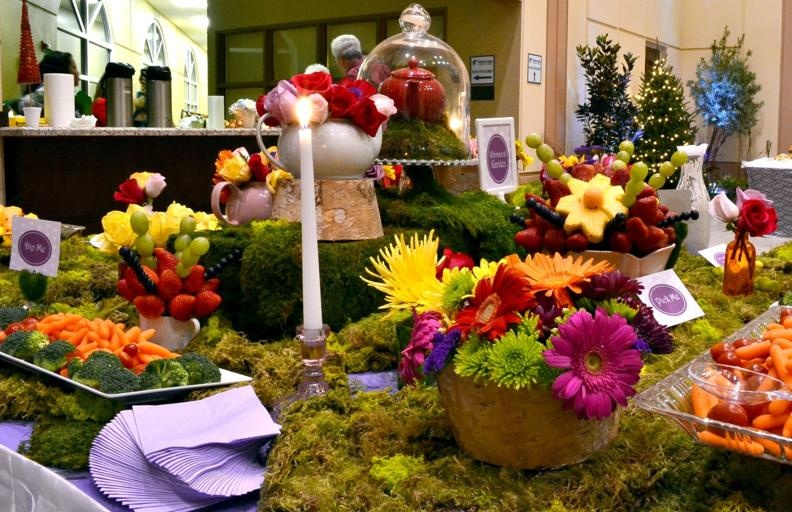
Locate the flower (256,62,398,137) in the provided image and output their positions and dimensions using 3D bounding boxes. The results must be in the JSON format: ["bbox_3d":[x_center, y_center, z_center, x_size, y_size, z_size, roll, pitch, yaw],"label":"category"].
[{"bbox_3d":[-0.185,-0.424,1.679,0.370,0.168,0.237,1,9,-4],"label":"flower"}]

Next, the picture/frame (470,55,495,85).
[{"bbox_3d":[0.904,-1.934,6.290,0.279,0.306,0.039,5,8,22],"label":"picture/frame"}]

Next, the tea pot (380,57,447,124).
[{"bbox_3d":[0.061,-0.544,1.963,0.164,0.228,0.233,2,15,4],"label":"tea pot"}]

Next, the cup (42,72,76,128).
[{"bbox_3d":[-1.903,-0.872,3.388,0.143,0.300,0.295,-3,10,-30],"label":"cup"}]

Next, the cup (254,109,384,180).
[{"bbox_3d":[-0.208,-0.311,1.739,0.244,0.134,0.207,1,11,4],"label":"cup"}]

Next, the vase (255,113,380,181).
[{"bbox_3d":[-0.208,-0.300,1.721,0.245,0.122,0.204,0,11,2],"label":"vase"}]

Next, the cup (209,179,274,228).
[{"bbox_3d":[-0.507,-0.184,2.003,0.122,0.149,0.199,9,17,34],"label":"cup"}]

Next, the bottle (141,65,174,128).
[{"bbox_3d":[-1.625,-1.072,4.073,0.184,0.419,0.475,-2,9,-23],"label":"bottle"}]

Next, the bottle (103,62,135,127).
[{"bbox_3d":[-1.771,-1.018,3.840,0.157,0.377,0.302,-2,9,-25],"label":"bottle"}]

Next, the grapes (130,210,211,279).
[{"bbox_3d":[-0.591,-0.010,1.612,0.183,0.186,0.178,10,3,0],"label":"grapes"}]

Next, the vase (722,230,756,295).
[{"bbox_3d":[1.244,0.024,2.171,0.099,0.221,0.220,6,10,31],"label":"vase"}]

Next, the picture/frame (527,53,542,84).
[{"bbox_3d":[1.455,-1.981,6.347,0.023,0.369,0.346,-1,2,31],"label":"picture/frame"}]

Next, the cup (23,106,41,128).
[{"bbox_3d":[-2.068,-0.786,3.411,0.072,0.116,0.288,-3,11,-31],"label":"cup"}]

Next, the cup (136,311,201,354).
[{"bbox_3d":[-0.590,0.197,1.569,0.139,0.101,0.090,11,1,-17],"label":"cup"}]

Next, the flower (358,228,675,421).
[{"bbox_3d":[0.286,0.122,1.180,0.426,0.207,0.457,-14,25,-22],"label":"flower"}]

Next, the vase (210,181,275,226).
[{"bbox_3d":[-0.511,-0.187,2.002,0.122,0.149,0.199,10,18,36],"label":"vase"}]

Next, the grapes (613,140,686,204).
[{"bbox_3d":[0.738,-0.242,1.812,0.216,0.094,0.243,-4,37,2],"label":"grapes"}]

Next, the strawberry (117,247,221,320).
[{"bbox_3d":[-0.599,0.081,1.559,0.208,0.123,0.193,25,3,23],"label":"strawberry"}]
